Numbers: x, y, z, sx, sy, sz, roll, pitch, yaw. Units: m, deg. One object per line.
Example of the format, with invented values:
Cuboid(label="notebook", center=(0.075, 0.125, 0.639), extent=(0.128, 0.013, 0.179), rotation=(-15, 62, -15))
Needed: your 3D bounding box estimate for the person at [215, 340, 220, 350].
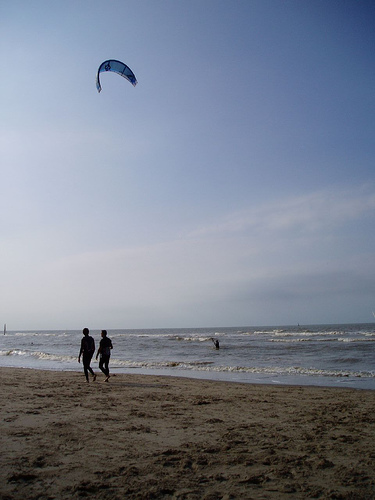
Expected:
Cuboid(label="person", center=(2.018, 6.583, 31.543), extent=(0.251, 0.882, 0.199), rotation=(-5, -8, 38))

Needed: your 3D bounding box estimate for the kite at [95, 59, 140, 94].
Cuboid(label="kite", center=(-1.507, -3.931, 10.205), extent=(0.936, 0.253, 0.982), rotation=(32, 12, -11))
